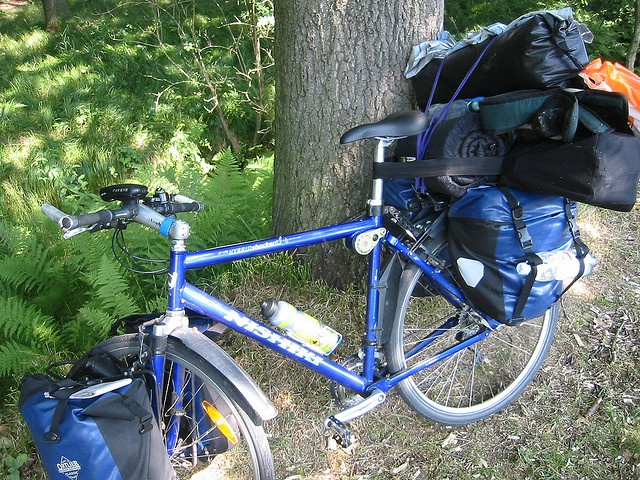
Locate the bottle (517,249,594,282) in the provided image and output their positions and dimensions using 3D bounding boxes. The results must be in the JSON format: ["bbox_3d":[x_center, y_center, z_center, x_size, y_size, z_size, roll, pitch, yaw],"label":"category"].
[{"bbox_3d":[1.643,0.190,4.431,0.502,0.175,0.244,-6,45,-20],"label":"bottle"}]
